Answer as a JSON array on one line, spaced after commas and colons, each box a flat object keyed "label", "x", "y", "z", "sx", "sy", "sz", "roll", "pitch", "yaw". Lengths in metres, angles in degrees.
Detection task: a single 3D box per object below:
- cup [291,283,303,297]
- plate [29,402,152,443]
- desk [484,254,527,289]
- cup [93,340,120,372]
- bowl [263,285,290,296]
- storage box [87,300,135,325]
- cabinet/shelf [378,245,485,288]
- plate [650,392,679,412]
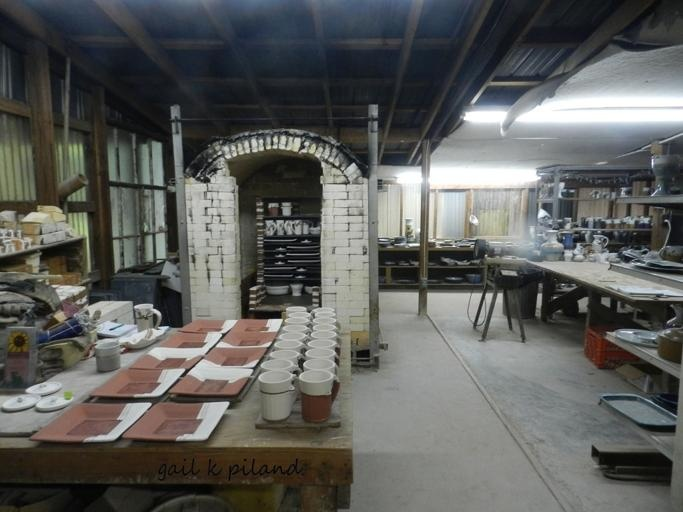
[{"label": "cup", "x": -0.648, "y": 0.502, "z": 6.963, "sx": 0.213, "sy": 0.186, "sz": 0.181, "roll": 0, "pitch": -3, "yaw": -1}, {"label": "plate", "x": -1.500, "y": 1.011, "z": 2.904, "sx": 0.333, "sy": 0.039, "sz": 0.295, "roll": 2, "pitch": 12, "yaw": 9}, {"label": "desk", "x": 2.594, "y": 0.289, "z": 7.464, "sx": 0.613, "sy": 0.523, "sz": 0.790, "roll": 0, "pitch": 4, "yaw": 12}, {"label": "cup", "x": -1.636, "y": 0.710, "z": 3.344, "sx": 0.187, "sy": 0.164, "sz": 0.215, "roll": 0, "pitch": 1, "yaw": -10}, {"label": "bowl", "x": -0.932, "y": 0.496, "z": 6.960, "sx": 0.339, "sy": 0.151, "sz": 0.171, "roll": -1, "pitch": 4, "yaw": -7}, {"label": "storage box", "x": -2.398, "y": 0.597, "z": 4.978, "sx": 0.271, "sy": 0.248, "sz": 0.445, "roll": 0, "pitch": 3, "yaw": 3}, {"label": "cabinet/shelf", "x": 2.042, "y": 0.252, "z": 10.914, "sx": 2.305, "sy": 1.002, "sz": 0.809, "roll": 0, "pitch": 5, "yaw": 5}, {"label": "plate", "x": 2.899, "y": 1.299, "z": 4.250, "sx": 0.145, "sy": 0.057, "sz": 0.175, "roll": 1, "pitch": 7, "yaw": 16}]
